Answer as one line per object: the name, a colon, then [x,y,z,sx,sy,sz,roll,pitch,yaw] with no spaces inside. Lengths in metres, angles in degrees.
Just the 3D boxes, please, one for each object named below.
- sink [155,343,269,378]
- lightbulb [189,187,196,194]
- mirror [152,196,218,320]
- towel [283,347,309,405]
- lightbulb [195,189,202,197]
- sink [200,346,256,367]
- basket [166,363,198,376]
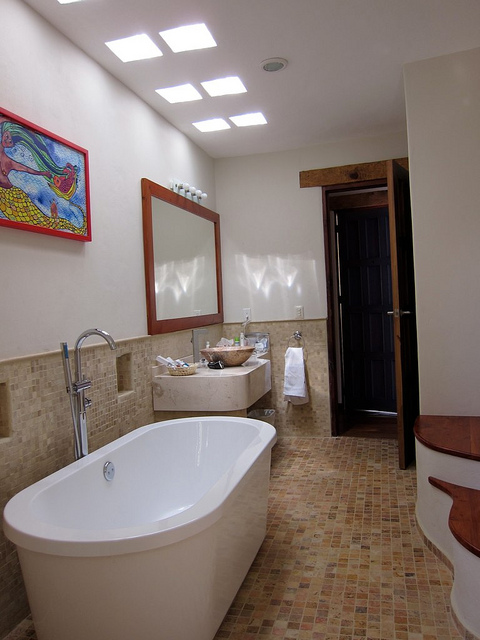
sink: [-0.161,0.273,3.400,0.678,0.214,1.109,-4,-1,8]
lightbulb: [-0.373,-1.016,3.518,0.032,0.050,0.048,7,-32,-6]
mirror: [-0.404,-0.443,3.574,0.044,1.027,1.320,0,5,18]
towel: [0.489,0.496,4.015,0.228,0.500,0.243,-3,0,5]
lightbulb: [-0.336,-1.017,3.612,0.058,0.056,0.048,2,10,-11]
sink: [-0.097,0.266,3.258,0.367,0.137,0.181,-4,-1,-1]
basket: [-0.384,0.322,2.981,0.178,0.072,0.113,-3,-1,-8]
